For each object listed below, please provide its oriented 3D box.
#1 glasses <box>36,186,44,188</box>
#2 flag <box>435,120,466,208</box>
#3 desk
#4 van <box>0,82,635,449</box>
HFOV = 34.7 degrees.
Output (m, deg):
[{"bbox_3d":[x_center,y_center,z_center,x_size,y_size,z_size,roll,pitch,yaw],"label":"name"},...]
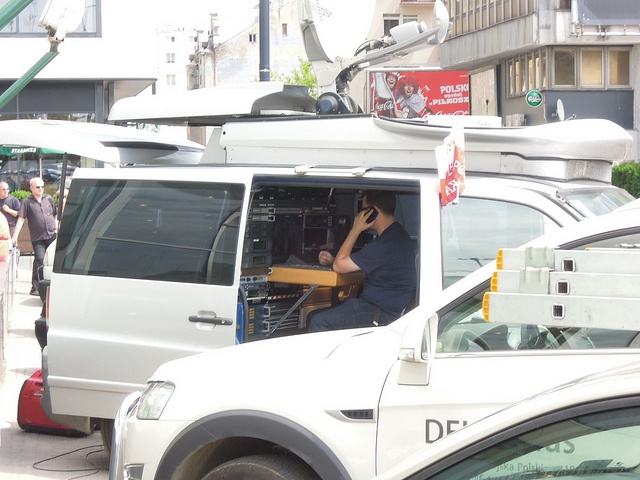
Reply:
[{"bbox_3d":[-4.324,-0.802,15.705,0.090,0.025,0.091,0,1,37],"label":"glasses"},{"bbox_3d":[0.866,-0.479,6.814,0.027,0.594,0.574,-1,1,31],"label":"flag"},{"bbox_3d":[-0.030,0.375,8.669,0.735,0.665,0.593,5,5,43],"label":"desk"},{"bbox_3d":[0.069,0.169,8.217,4.355,2.772,2.700,-1,3,25],"label":"van"}]
